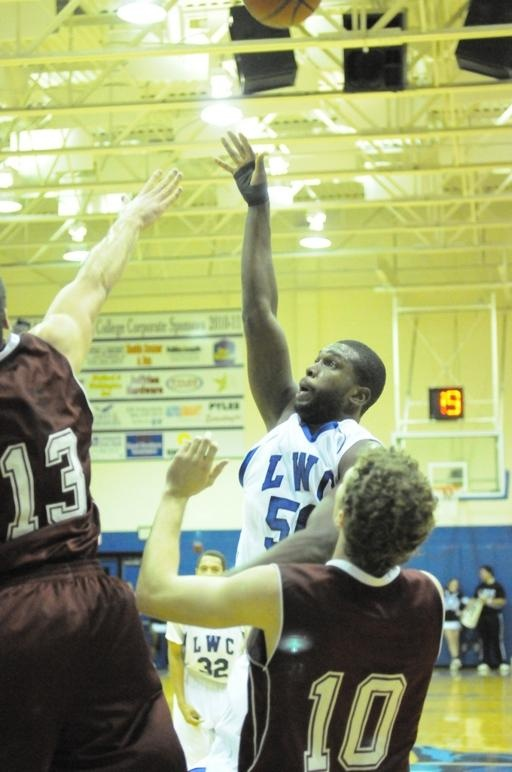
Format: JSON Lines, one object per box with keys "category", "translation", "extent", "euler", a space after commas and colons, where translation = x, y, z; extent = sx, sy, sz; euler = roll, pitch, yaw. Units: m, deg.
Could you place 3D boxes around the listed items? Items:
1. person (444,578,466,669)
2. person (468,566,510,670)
{"category": "person", "translation": [2.790, 3.376, 13.416], "extent": [0.269, 1.218, 0.695], "euler": [0, 5, 12]}
{"category": "person", "translation": [3.308, 3.303, 13.390], "extent": [0.442, 1.365, 0.548], "euler": [0, 5, 12]}
